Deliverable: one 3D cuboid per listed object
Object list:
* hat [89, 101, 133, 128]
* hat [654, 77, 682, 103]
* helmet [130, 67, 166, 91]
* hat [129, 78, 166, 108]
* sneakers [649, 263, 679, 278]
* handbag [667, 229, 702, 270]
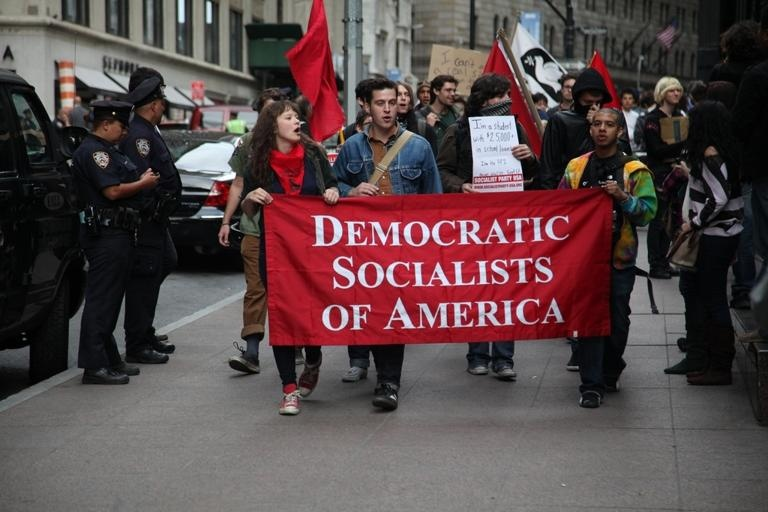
[{"bbox_3d":[-2.518,-1.305,7.616,0.288,0.147,0.270,0,9,-11],"label":"hat"},{"bbox_3d":[3.942,-2.358,11.744,0.448,0.340,0.436,-3,10,-26],"label":"hat"},{"bbox_3d":[-2.379,-1.795,8.219,0.274,0.201,0.372,-9,9,-9],"label":"helmet"},{"bbox_3d":[-2.301,-1.575,8.020,0.312,0.122,0.276,-27,26,-15],"label":"hat"},{"bbox_3d":[4.197,0.225,12.475,0.283,0.137,0.365,-2,5,22],"label":"sneakers"},{"bbox_3d":[2.665,-0.039,7.373,0.231,0.196,0.477,15,57,26],"label":"handbag"}]
